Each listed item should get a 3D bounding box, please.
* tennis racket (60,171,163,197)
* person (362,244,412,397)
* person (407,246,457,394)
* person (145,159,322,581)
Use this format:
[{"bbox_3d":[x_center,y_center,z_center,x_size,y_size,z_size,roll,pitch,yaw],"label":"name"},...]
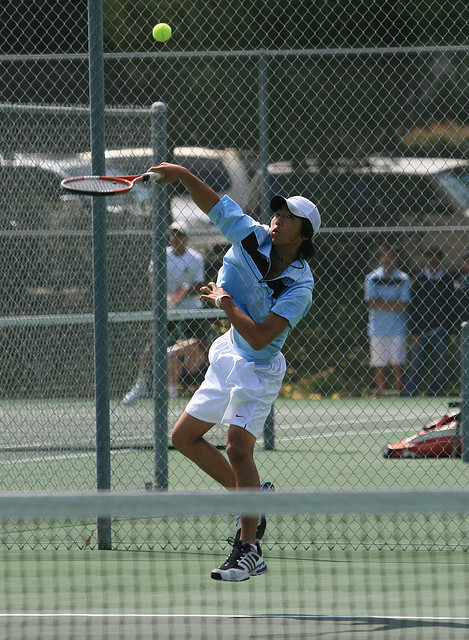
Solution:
[{"bbox_3d":[-0.452,-0.473,3.094,0.322,0.098,0.382,-1,3,-22],"label":"tennis racket"},{"bbox_3d":[1.276,0.035,7.389,0.421,1.372,1.675,1,3,9],"label":"person"},{"bbox_3d":[1.791,0.020,7.989,0.404,1.332,1.222,1,3,14],"label":"person"},{"bbox_3d":[0.031,0.028,3.051,0.439,1.126,0.448,3,5,43],"label":"person"}]
